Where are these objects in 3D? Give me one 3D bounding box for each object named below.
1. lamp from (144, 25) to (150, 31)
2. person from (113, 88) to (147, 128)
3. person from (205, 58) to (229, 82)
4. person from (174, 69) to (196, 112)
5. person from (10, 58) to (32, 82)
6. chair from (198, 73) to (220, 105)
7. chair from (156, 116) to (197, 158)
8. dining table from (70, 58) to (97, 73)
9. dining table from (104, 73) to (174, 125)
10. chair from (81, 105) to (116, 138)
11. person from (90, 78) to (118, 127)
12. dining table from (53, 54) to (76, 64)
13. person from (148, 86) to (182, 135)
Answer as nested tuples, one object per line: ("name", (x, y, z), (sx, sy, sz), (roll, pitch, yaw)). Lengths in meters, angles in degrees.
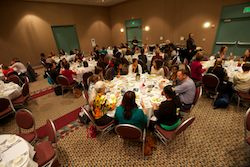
("lamp", (1.534, -3.845, 11.703), (0.268, 0.289, 0.169), (9, 10, 29))
("person", (0.183, 0.852, 5.499), (1.126, 1.517, 1.045), (-6, 27, -11))
("person", (3.520, -0.534, 6.352), (0.769, 0.811, 0.432), (8, 25, 27))
("person", (2.100, 0.281, 6.060), (0.744, 1.605, 0.892), (-22, 25, -38))
("person", (-5.470, -0.706, 8.793), (0.478, 1.379, 0.510), (12, 73, 27))
("chair", (3.209, 0.217, 6.393), (0.621, 1.121, 0.729), (19, 50, 38))
("chair", (1.584, 1.739, 5.365), (0.631, 1.161, 0.737), (-25, 50, -14))
("dining table", (-1.951, -0.948, 8.207), (1.023, 0.284, 1.046), (24, 44, 36))
("dining table", (0.647, 0.861, 6.402), (1.730, 0.550, 1.837), (2, 37, 7))
("chair", (-0.842, 1.278, 5.634), (0.571, 0.872, 0.519), (-33, 62, -8))
("person", (-0.721, 0.672, 5.541), (0.698, 1.711, 0.982), (25, 44, 29))
("dining table", (-3.688, -1.564, 10.012), (0.738, 0.238, 0.760), (11, 24, 30))
("person", (1.258, 0.924, 5.294), (0.962, 1.697, 0.446), (-1, 22, 8))
